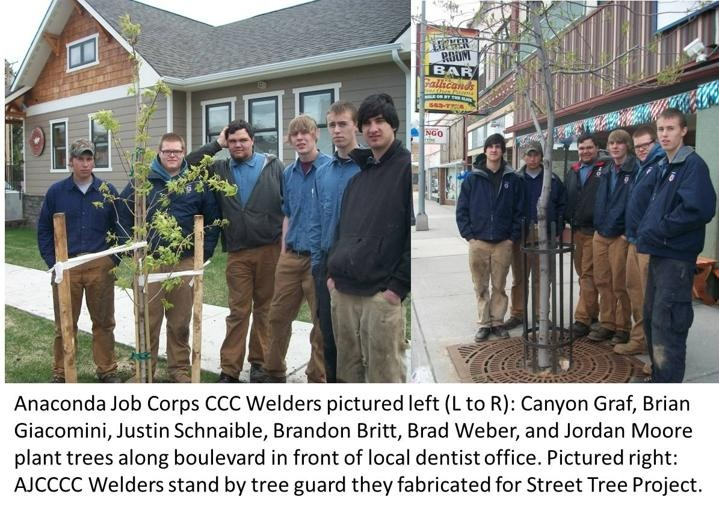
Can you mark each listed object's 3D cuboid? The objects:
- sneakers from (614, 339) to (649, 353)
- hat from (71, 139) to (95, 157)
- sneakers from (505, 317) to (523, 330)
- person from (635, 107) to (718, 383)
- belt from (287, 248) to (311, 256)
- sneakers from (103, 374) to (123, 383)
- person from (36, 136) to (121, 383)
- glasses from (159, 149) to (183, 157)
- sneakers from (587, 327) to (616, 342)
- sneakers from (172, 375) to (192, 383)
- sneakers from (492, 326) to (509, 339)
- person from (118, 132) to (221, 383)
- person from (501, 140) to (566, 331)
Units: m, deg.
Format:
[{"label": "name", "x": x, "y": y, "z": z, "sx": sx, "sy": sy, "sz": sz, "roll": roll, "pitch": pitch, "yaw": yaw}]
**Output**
[{"label": "sneakers", "x": 2.590, "y": 0.871, "z": 6.305, "sx": 0.296, "sy": 0.129, "sz": 0.119, "roll": 0, "pitch": 0, "yaw": 3}, {"label": "hat", "x": -2.638, "y": -1.041, "z": 6.296, "sx": 0.208, "sy": 0.186, "sz": 0.238, "roll": -2, "pitch": 4, "yaw": -24}, {"label": "sneakers", "x": 1.547, "y": 0.688, "z": 6.658, "sx": 0.226, "sy": 0.097, "sz": 0.089, "roll": -6, "pitch": 7, "yaw": -26}, {"label": "person", "x": 2.759, "y": -0.078, "z": 5.780, "sx": 0.603, "sy": 2.426, "sz": 0.268, "roll": 1, "pitch": 3, "yaw": 28}, {"label": "belt", "x": -0.563, "y": -0.034, "z": 6.096, "sx": 0.236, "sy": 0.058, "sz": 0.051, "roll": 2, "pitch": 4, "yaw": 28}, {"label": "sneakers", "x": -2.377, "y": 1.191, "z": 6.355, "sx": 0.201, "sy": 0.086, "sz": 0.076, "roll": -2, "pitch": 11, "yaw": -6}, {"label": "person", "x": -2.644, "y": 0.093, "z": 6.455, "sx": 0.893, "sy": 2.448, "sz": 0.700, "roll": -2, "pitch": 19, "yaw": -25}, {"label": "glasses", "x": -1.748, "y": -0.964, "z": 6.155, "sx": 0.190, "sy": 0.061, "sz": 0.074, "roll": -1, "pitch": 4, "yaw": -15}, {"label": "sneakers", "x": 2.383, "y": 0.785, "z": 6.519, "sx": 0.281, "sy": 0.122, "sz": 0.111, "roll": 1, "pitch": 1, "yaw": -3}, {"label": "sneakers", "x": -1.659, "y": 1.163, "z": 6.187, "sx": 0.188, "sy": 0.082, "sz": 0.068, "roll": -6, "pitch": -3, "yaw": 24}, {"label": "sneakers", "x": 1.413, "y": 0.765, "z": 6.574, "sx": 0.086, "sy": 0.080, "sz": 0.188, "roll": -7, "pitch": 8, "yaw": -22}, {"label": "person", "x": -1.753, "y": 0.016, "z": 6.217, "sx": 0.876, "sy": 2.347, "sz": 0.733, "roll": -1, "pitch": 3, "yaw": -13}, {"label": "person", "x": 1.701, "y": -0.150, "z": 6.369, "sx": 0.555, "sy": 1.846, "sz": 0.983, "roll": 1, "pitch": 3, "yaw": 13}]
